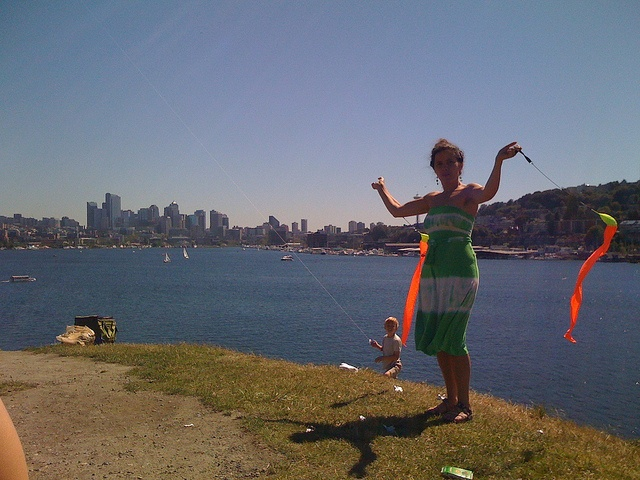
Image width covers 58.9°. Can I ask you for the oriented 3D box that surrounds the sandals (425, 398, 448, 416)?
[{"bbox_3d":[1.899,2.675,9.159,0.459,0.195,0.156,6,-6,-38],"label":"sandals"}]

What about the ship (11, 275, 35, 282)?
[{"bbox_3d":[-35.775,4.646,68.620,2.391,0.640,10.226,5,-4,-26],"label":"ship"}]

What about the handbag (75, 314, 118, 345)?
[{"bbox_3d":[-5.910,2.322,15.245,0.901,0.806,0.780,1,-3,-17],"label":"handbag"}]
